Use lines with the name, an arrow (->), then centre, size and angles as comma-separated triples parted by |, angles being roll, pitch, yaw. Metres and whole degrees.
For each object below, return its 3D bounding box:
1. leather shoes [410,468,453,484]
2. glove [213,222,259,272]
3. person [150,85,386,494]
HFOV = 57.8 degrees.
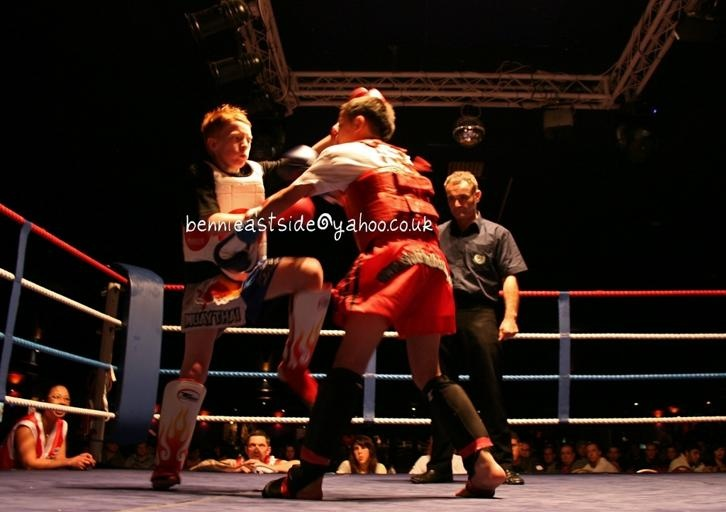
leather shoes -> 0.410, 1.284, 3.857 | 0.262, 0.084, 0.086 | 7, -21, -6
glove -> -0.538, -0.040, 2.917 | 0.182, 0.230, 0.087 | 35, 1, -7
person -> -0.470, 0.096, 3.045 | 0.767, 1.795, 0.838 | 9, -24, -15
